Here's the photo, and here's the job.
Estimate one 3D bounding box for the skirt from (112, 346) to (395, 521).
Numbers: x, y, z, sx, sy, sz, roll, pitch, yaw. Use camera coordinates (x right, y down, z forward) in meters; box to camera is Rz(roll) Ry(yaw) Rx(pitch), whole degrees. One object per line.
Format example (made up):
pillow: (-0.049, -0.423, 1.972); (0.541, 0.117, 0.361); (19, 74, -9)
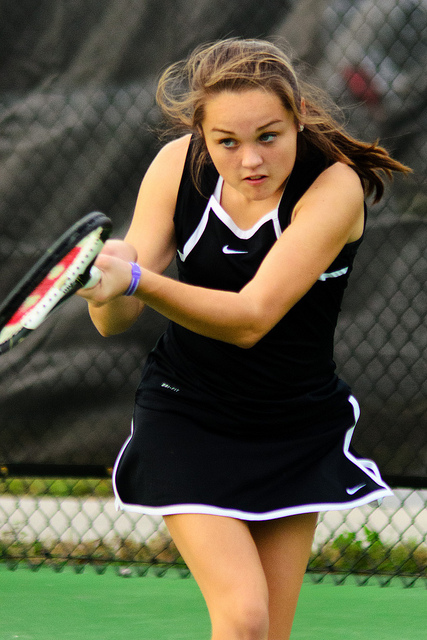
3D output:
skirt: (0.074, 0.273, 1.253); (0.553, 0.294, 0.388); (7, 66, -12)

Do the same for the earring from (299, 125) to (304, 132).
earring: (0.155, -0.340, 1.083); (0.008, 0.008, 0.010); (0, -2, 2)
